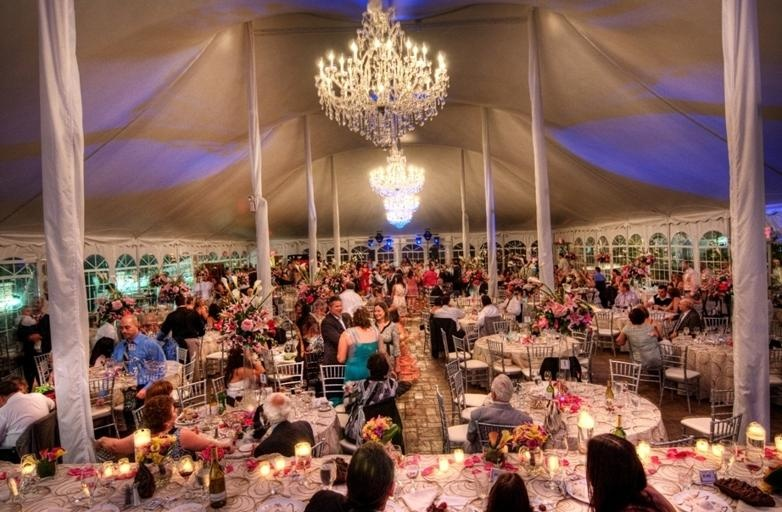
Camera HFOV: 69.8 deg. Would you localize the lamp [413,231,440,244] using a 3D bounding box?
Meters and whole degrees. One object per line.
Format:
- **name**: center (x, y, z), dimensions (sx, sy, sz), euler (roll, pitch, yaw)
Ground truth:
- **lamp**: center (1.968, -0.980, 31.440), dimensions (0.827, 0.604, 0.910), euler (-1, 2, 1)
